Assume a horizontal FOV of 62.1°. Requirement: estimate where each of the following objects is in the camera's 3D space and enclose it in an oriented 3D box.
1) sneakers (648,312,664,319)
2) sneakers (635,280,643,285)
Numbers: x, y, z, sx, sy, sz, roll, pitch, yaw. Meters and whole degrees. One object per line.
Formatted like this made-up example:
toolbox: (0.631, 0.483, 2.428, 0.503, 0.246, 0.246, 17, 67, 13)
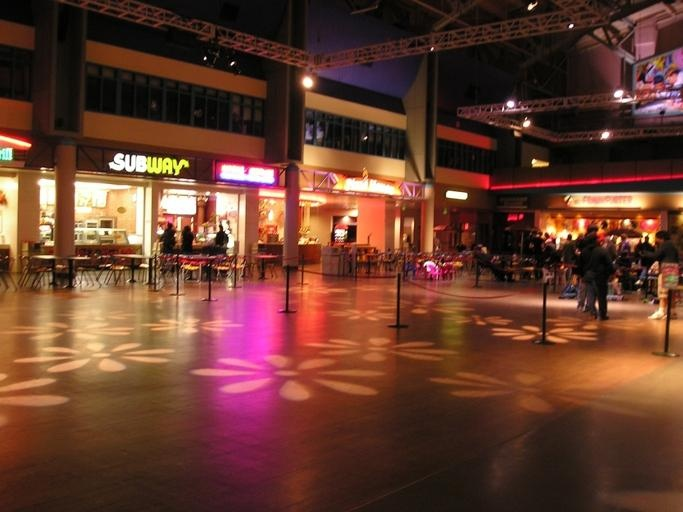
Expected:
sneakers: (8.352, 1.561, 15.171, 0.166, 0.218, 0.486, 1, 4, -7)
sneakers: (10.566, 0.939, 20.184, 0.188, 0.286, 0.165, 2, -5, -9)
